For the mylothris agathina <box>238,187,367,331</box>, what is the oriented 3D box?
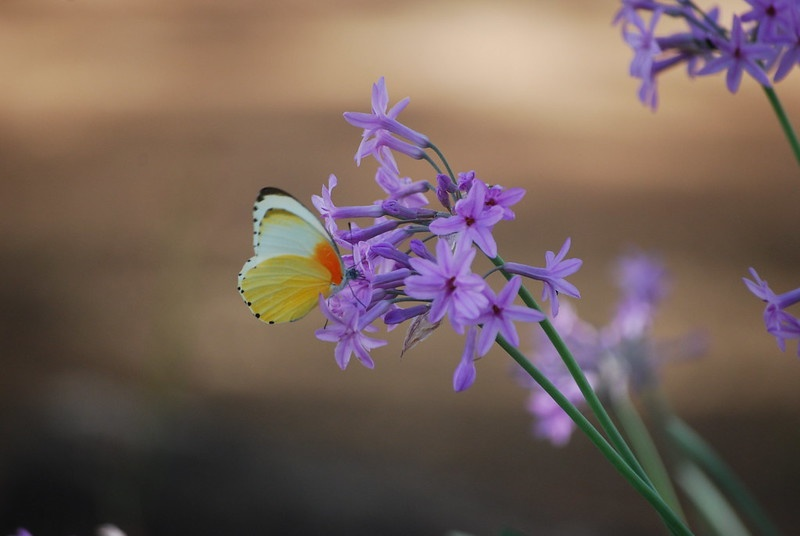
[{"bbox_3d":[-0.184,0.004,1.667,0.170,0.307,0.181,1,-8,-14],"label":"mylothris agathina"}]
